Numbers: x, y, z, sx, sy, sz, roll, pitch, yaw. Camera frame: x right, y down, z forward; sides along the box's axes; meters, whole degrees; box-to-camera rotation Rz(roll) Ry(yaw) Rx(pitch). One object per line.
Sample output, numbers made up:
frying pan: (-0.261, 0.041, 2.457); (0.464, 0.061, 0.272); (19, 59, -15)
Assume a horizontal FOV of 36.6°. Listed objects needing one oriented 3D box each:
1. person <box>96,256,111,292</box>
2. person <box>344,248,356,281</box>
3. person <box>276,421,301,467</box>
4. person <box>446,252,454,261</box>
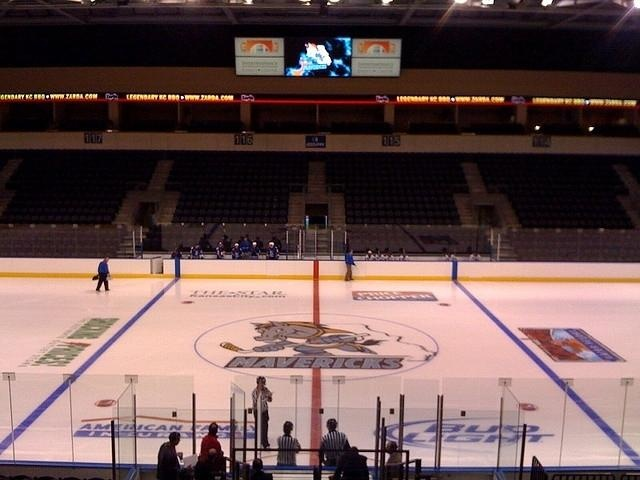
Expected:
person: (-8.570, 1.368, 38.161); (0.512, 1.494, 1.089); (3, -13, -12)
person: (1.206, 1.102, 40.051); (0.394, 1.107, 0.981); (0, -12, 2)
person: (-0.895, 5.819, 27.625); (0.662, 1.200, 0.406); (1, -12, -2)
person: (5.483, 0.736, 40.877); (0.347, 0.451, 0.803); (-1, -12, 7)
